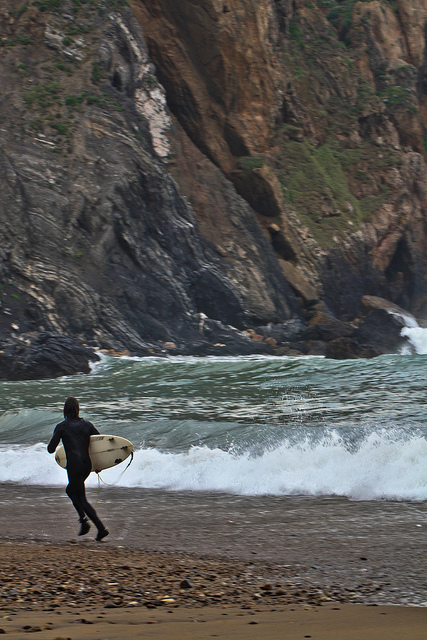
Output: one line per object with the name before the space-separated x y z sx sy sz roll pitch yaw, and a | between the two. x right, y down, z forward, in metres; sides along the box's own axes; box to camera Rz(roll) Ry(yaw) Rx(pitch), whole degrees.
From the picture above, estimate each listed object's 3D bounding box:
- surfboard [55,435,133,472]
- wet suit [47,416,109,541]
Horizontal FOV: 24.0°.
surfboard | -1.657 1.705 13.207 1.005 0.481 0.705 -4 -1 -33
wet suit | -1.745 1.933 12.762 1.018 1.683 0.661 -5 -7 15
